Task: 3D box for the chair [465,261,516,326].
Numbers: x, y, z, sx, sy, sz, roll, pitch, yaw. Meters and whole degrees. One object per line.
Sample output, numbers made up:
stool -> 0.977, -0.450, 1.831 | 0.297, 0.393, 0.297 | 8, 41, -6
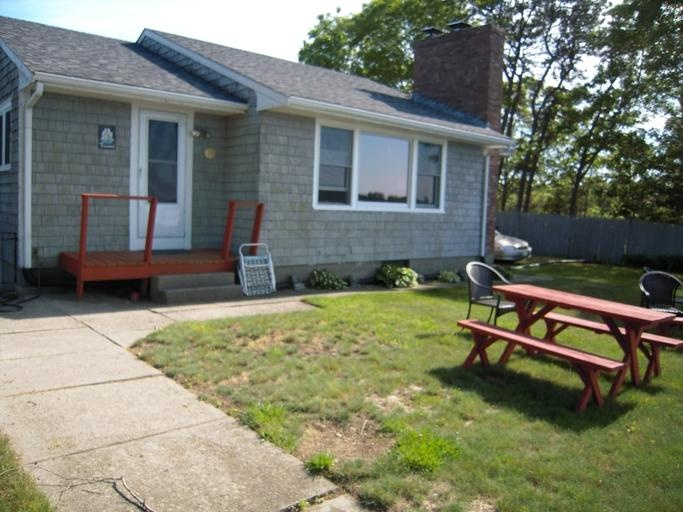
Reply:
chair -> 2.223, 0.621, 7.465 | 0.701, 1.020, 0.717 | -2, 4, -38
